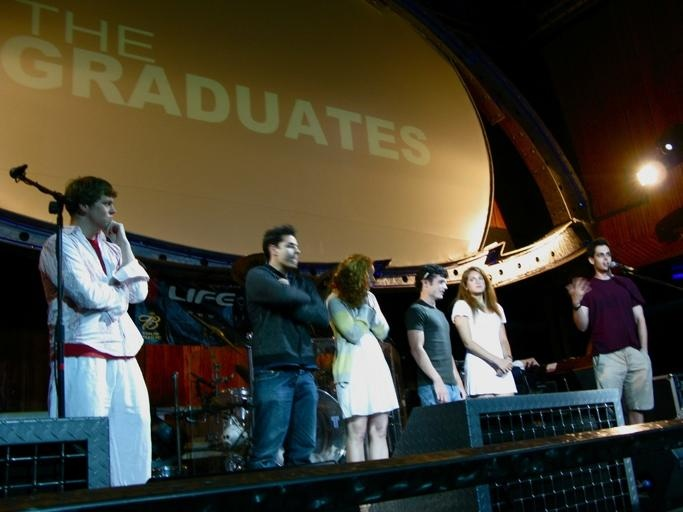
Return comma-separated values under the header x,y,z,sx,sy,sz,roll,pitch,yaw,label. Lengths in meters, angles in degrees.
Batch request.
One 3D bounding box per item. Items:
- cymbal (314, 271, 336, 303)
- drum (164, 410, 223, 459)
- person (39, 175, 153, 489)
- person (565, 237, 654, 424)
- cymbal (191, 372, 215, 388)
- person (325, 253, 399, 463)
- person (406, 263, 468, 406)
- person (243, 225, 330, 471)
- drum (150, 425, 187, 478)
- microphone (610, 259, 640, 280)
x,y,z,sx,sy,sz,roll,pitch,yaw,label
-0.234,0.321,5.994,0.230,0.293,0.302,4,-15,-18,cymbal
-1.644,1.867,6.133,0.525,0.305,0.738,2,-11,-32,drum
-1.347,0.355,3.135,0.558,1.799,0.472,-10,-15,20,person
2.597,0.697,5.244,0.671,1.729,0.316,-2,-15,-13,person
-1.553,1.402,6.146,0.245,0.230,0.267,6,-20,-37,cymbal
0.150,0.727,4.162,0.464,1.543,0.367,-4,-14,-3,person
0.757,0.641,4.643,0.293,1.161,0.556,-14,-17,33,person
-0.370,0.538,3.609,0.558,1.590,0.387,1,-16,-22,person
-1.628,1.797,5.191,0.328,0.502,1.226,0,-18,-19,drum
3.331,0.154,6.417,0.446,0.156,0.118,27,-32,-32,microphone
